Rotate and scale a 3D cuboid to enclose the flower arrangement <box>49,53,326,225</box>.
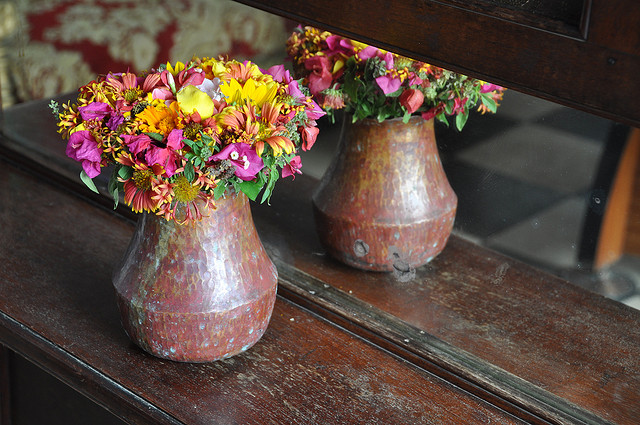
[{"bbox_3d":[-0.167,-0.091,0.737,0.337,0.169,0.172,-8,40,-13],"label":"flower arrangement"}]

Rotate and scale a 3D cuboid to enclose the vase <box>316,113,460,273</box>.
[{"bbox_3d":[0.108,-0.059,0.936,0.225,0.253,0.247,-8,28,-14],"label":"vase"}]
